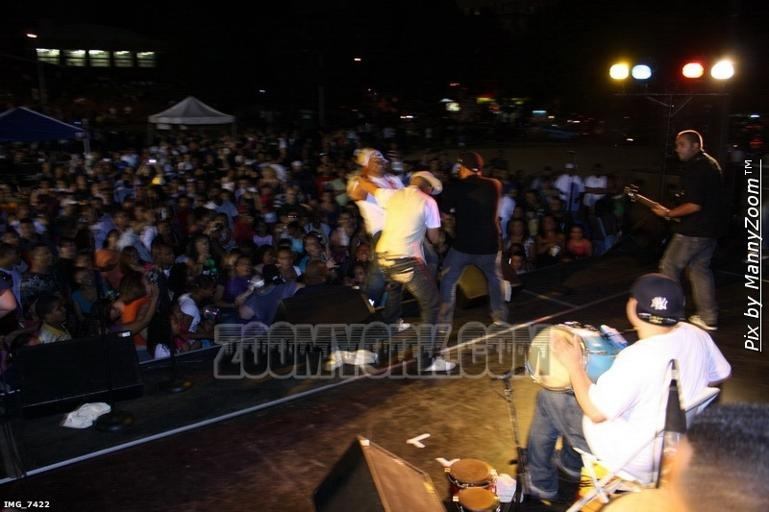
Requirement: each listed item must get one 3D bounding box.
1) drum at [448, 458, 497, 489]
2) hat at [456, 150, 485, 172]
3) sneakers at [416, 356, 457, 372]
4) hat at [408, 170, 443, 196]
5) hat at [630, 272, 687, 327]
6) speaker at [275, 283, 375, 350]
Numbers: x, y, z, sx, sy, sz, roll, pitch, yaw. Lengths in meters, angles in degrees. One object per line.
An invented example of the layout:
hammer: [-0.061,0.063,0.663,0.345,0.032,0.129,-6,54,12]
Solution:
drum: [0.567,1.429,3.554,0.246,0.129,0.265,-1,4,0]
hat: [0.909,-0.981,5.576,0.222,0.234,0.333,-1,4,6]
sneakers: [0.542,1.055,5.313,0.328,0.135,0.171,0,4,7]
hat: [0.431,-0.786,5.366,0.329,0.091,0.318,37,-3,20]
hat: [1.685,0.247,3.277,0.382,0.196,0.408,7,28,9]
speaker: [-0.879,0.535,5.999,1.091,0.620,1.270,2,8,-33]
